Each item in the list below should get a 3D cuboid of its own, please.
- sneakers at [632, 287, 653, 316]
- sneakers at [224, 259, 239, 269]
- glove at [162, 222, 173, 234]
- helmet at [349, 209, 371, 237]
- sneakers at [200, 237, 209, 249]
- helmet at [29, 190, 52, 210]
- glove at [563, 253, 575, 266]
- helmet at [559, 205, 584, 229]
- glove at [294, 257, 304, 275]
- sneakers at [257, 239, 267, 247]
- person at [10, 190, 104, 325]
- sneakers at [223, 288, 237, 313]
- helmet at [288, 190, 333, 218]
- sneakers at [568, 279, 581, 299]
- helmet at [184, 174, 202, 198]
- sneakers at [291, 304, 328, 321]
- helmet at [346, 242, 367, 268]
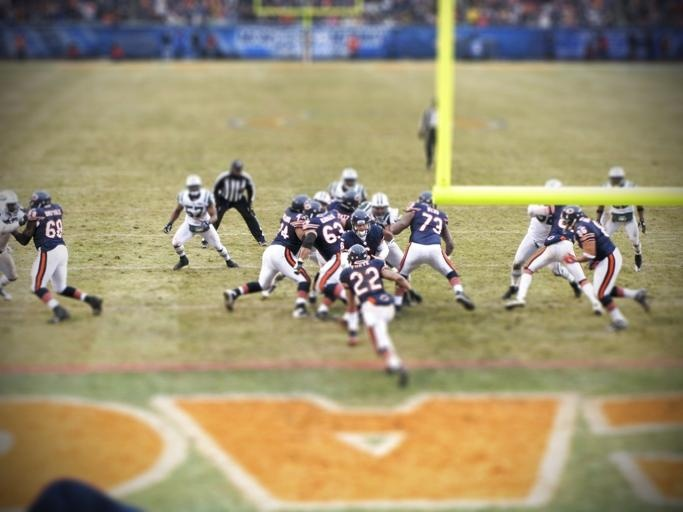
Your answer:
[{"bbox_3d":[5.374,0.844,15.543,0.147,0.452,0.192,-28,25,-10],"label":"sneakers"},{"bbox_3d":[-2.163,0.152,16.984,0.321,0.113,0.218,-2,-19,7],"label":"sneakers"},{"bbox_3d":[-3.527,-0.577,17.518,0.247,0.121,0.353,-53,12,-19],"label":"glove"},{"bbox_3d":[0.304,-0.573,14.835,0.321,0.357,0.438,0,31,-1],"label":"helmet"},{"bbox_3d":[-2.834,-0.262,17.871,0.119,0.169,0.363,0,-11,-14],"label":"sneakers"},{"bbox_3d":[-5.240,-0.997,15.061,0.370,0.358,0.289,7,19,-9],"label":"helmet"},{"bbox_3d":[3.936,0.051,15.028,0.298,0.157,0.157,5,-23,32],"label":"glove"},{"bbox_3d":[3.972,-0.673,14.995,0.423,0.448,0.267,4,15,16],"label":"helmet"},{"bbox_3d":[-0.746,0.167,15.151,0.190,0.257,0.085,8,23,27],"label":"glove"},{"bbox_3d":[-1.649,-0.265,17.824,0.090,0.110,0.239,-1,-9,-24],"label":"sneakers"},{"bbox_3d":[-5.013,0.054,15.100,1.271,2.358,0.659,-5,15,-16],"label":"person"},{"bbox_3d":[-1.987,0.810,15.322,0.229,0.511,0.182,-16,25,-34],"label":"sneakers"},{"bbox_3d":[-0.569,-0.962,15.730,0.661,0.354,0.414,-6,30,-7],"label":"helmet"},{"bbox_3d":[4.316,0.610,15.993,0.201,0.163,0.451,38,15,-2],"label":"sneakers"},{"bbox_3d":[-2.775,-1.328,16.271,0.322,0.420,0.437,-1,9,-6],"label":"helmet"},{"bbox_3d":[-0.585,1.024,15.590,0.408,0.287,0.138,-4,39,-9],"label":"sneakers"},{"bbox_3d":[0.237,-0.027,14.257,0.263,0.318,0.344,1,19,-2],"label":"helmet"}]
